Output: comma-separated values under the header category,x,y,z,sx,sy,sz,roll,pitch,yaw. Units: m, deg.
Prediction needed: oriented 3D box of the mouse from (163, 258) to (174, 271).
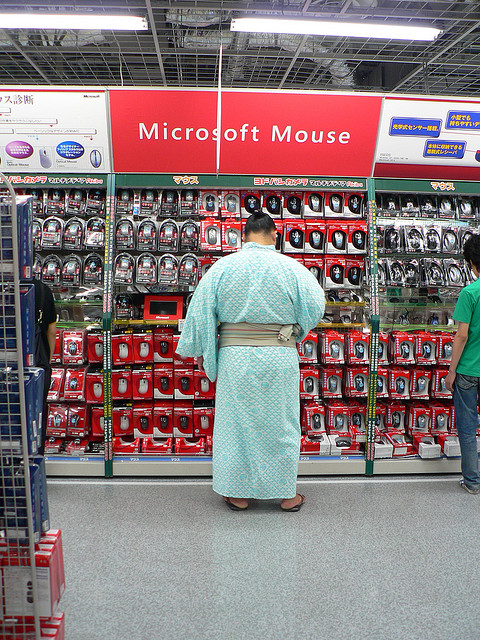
category,x,y,z,sx,sy,sz,roll,pitch,yaw
mouse,-0.508,-0.402,3.471,0.075,0.075,0.139,-5,11,-2

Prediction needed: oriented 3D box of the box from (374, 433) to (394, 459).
category,x,y,z,sx,sy,sz,roll,pitch,yaw
box,1.035,0.929,3.487,0.119,0.073,0.120,0,5,10

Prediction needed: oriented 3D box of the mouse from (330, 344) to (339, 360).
category,x,y,z,sx,sy,sz,roll,pitch,yaw
mouse,0.685,0.232,3.492,0.066,0.094,0.034,-1,0,0

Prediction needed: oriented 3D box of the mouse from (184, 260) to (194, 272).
category,x,y,z,sx,sy,sz,roll,pitch,yaw
mouse,-0.366,-0.385,3.464,0.067,0.126,0.067,2,-9,2

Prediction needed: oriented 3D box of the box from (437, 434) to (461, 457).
category,x,y,z,sx,sy,sz,roll,pitch,yaw
box,1.521,0.888,3.526,0.137,0.068,0.189,3,21,2

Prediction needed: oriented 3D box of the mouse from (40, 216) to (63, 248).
category,x,y,z,sx,sy,sz,roll,pitch,yaw
mouse,-1.326,-0.623,3.422,0.123,0.218,0.076,1,-11,-3

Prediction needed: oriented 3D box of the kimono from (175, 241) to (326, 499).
category,x,y,z,sx,sy,sz,roll,pitch,yaw
kimono,-0.004,0.243,3.038,0.831,1.493,0.733,0,9,-13

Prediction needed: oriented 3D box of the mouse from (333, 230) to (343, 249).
category,x,y,z,sx,sy,sz,roll,pitch,yaw
mouse,0.705,-0.581,3.493,0.071,0.125,0.029,-2,1,-6

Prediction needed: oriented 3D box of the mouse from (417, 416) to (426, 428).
category,x,y,z,sx,sy,sz,roll,pitch,yaw
mouse,1.350,0.770,3.614,0.059,0.081,0.028,3,-9,6

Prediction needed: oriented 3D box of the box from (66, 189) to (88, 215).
category,x,y,z,sx,sy,sz,roll,pitch,yaw
box,-1.168,-0.847,3.462,0.130,0.187,0.061,6,-10,-10

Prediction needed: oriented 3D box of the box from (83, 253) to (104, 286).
category,x,y,z,sx,sy,sz,roll,pitch,yaw
box,-1.047,-0.361,3.455,0.136,0.226,0.073,0,-8,-3

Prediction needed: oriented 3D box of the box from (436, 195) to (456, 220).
category,x,y,z,sx,sy,sz,roll,pitch,yaw
box,1.567,-0.867,3.693,0.141,0.187,0.102,-1,7,6

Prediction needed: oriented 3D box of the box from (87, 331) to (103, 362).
category,x,y,z,sx,sy,sz,roll,pitch,yaw
box,-1.022,0.200,3.422,0.086,0.237,0.139,-8,9,-40

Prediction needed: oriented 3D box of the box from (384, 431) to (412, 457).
category,x,y,z,sx,sy,sz,roll,pitch,yaw
box,1.157,0.910,3.536,0.134,0.068,0.182,1,7,0

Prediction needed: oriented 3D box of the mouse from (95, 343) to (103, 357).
category,x,y,z,sx,sy,sz,roll,pitch,yaw
mouse,-1.003,0.215,3.449,0.055,0.096,0.022,2,3,-17

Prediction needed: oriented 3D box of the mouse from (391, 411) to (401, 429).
category,x,y,z,sx,sy,sz,roll,pitch,yaw
mouse,1.183,0.769,3.681,0.067,0.123,0.031,1,-5,4

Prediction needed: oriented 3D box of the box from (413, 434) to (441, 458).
category,x,y,z,sx,sy,sz,roll,pitch,yaw
box,1.349,0.927,3.527,0.119,0.068,0.157,1,8,0

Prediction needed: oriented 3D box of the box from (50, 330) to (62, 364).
category,x,y,z,sx,sy,sz,roll,pitch,yaw
box,-1.296,0.204,3.417,0.077,0.260,0.151,-5,8,-23

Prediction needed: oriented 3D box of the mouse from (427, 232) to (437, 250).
category,x,y,z,sx,sy,sz,roll,pitch,yaw
mouse,1.449,-0.605,3.663,0.068,0.127,0.030,1,-17,13

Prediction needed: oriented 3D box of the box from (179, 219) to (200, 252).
category,x,y,z,sx,sy,sz,roll,pitch,yaw
box,-0.362,-0.599,3.429,0.138,0.207,0.048,1,-4,-1

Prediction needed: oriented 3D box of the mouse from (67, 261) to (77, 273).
category,x,y,z,sx,sy,sz,roll,pitch,yaw
mouse,-1.187,-0.375,3.422,0.054,0.079,0.047,-1,7,7

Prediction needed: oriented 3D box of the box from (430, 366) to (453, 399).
category,x,y,z,sx,sy,sz,roll,pitch,yaw
box,1.532,0.496,3.668,0.140,0.248,0.214,3,9,31

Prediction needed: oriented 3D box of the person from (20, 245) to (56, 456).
category,x,y,z,sx,sy,sz,roll,pitch,yaw
person,-1.223,0.343,3.066,0.161,1.203,0.648,-5,8,-22

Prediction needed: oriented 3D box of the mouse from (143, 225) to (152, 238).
category,x,y,z,sx,sy,sz,roll,pitch,yaw
mouse,-0.662,-0.640,3.468,0.065,0.087,0.046,-3,7,-12

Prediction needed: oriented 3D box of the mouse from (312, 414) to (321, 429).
category,x,y,z,sx,sy,sz,roll,pitch,yaw
mouse,0.557,0.748,3.516,0.057,0.098,0.024,1,-4,-12

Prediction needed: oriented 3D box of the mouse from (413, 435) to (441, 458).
category,x,y,z,sx,sy,sz,roll,pitch,yaw
mouse,1.357,0.932,3.531,0.159,0.126,0.153,-2,7,1

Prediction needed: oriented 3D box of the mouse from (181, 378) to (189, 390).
category,x,y,z,sx,sy,sz,roll,pitch,yaw
mouse,-0.393,0.466,3.463,0.047,0.079,0.019,1,2,-1

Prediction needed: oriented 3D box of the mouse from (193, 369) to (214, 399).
category,x,y,z,sx,sy,sz,roll,pitch,yaw
mouse,-0.265,0.455,3.515,0.154,0.211,0.063,-1,11,-4

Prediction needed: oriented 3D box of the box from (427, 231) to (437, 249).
category,x,y,z,sx,sy,sz,roll,pitch,yaw
box,1.450,-0.605,3.644,0.070,0.119,0.029,2,-15,4

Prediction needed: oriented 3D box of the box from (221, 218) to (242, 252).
category,x,y,z,sx,sy,sz,roll,pitch,yaw
box,-0.062,-0.602,3.438,0.159,0.228,0.067,-2,-1,-6

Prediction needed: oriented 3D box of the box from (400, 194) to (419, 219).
category,x,y,z,sx,sy,sz,roll,pitch,yaw
box,1.267,-0.858,3.631,0.134,0.191,0.062,1,-10,-3

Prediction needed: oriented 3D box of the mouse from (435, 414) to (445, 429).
category,x,y,z,sx,sy,sz,roll,pitch,yaw
mouse,1.487,0.766,3.610,0.063,0.103,0.036,5,2,-24

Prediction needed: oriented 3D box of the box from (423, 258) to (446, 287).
category,x,y,z,sx,sy,sz,roll,pitch,yaw
box,1.468,-0.359,3.679,0.152,0.203,0.132,-2,7,2

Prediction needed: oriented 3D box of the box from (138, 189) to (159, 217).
category,x,y,z,sx,sy,sz,roll,pitch,yaw
box,-0.657,-0.851,3.480,0.153,0.196,0.125,-3,7,-9

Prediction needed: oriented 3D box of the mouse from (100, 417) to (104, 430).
category,x,y,z,sx,sy,sz,roll,pitch,yaw
mouse,-0.980,0.747,3.446,0.018,0.089,0.043,-7,9,-38

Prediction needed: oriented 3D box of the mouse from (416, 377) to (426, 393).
category,x,y,z,sx,sy,sz,roll,pitch,yaw
mouse,1.342,0.488,3.593,0.076,0.115,0.018,-5,7,-21
